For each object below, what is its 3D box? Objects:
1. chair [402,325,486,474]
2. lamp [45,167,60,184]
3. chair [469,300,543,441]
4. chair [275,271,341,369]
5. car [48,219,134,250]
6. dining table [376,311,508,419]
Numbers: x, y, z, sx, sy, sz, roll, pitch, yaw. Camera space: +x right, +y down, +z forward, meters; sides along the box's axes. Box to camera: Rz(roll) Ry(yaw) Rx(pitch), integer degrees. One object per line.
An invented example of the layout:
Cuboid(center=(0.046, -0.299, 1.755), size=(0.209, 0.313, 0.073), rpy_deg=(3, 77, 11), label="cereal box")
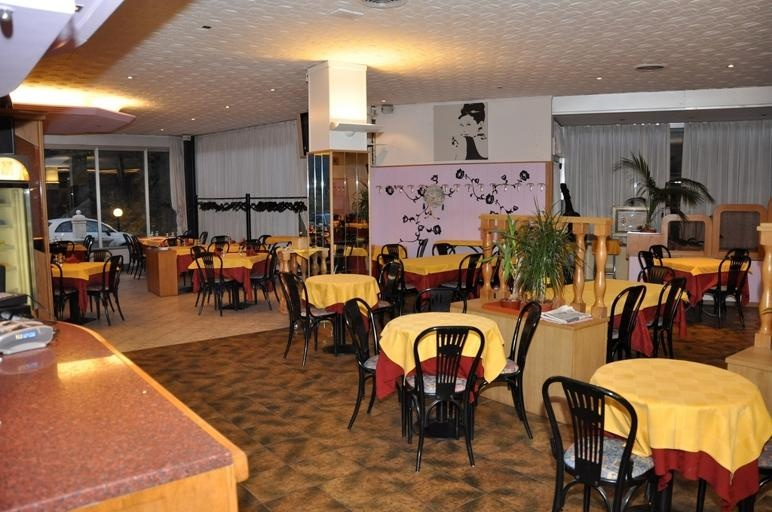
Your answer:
Cuboid(center=(0.443, 0.992, 4.309), size=(0.627, 1.053, 0.786), rpy_deg=(0, 10, 1), label="chair")
Cuboid(center=(-8.520, -2.028, 13.951), size=(0.268, 0.435, 0.154), rpy_deg=(-5, 11, -25), label="lamp")
Cuboid(center=(0.945, 0.916, 4.579), size=(0.675, 1.059, 0.570), rpy_deg=(-2, 7, 1), label="chair")
Cuboid(center=(-0.907, 0.640, 6.525), size=(0.657, 1.074, 1.281), rpy_deg=(-2, 10, -9), label="chair")
Cuboid(center=(-7.942, -0.584, 14.534), size=(1.712, 0.868, 1.016), rpy_deg=(-7, 11, -34), label="car")
Cuboid(center=(0.429, 0.782, 4.365), size=(0.820, 0.409, 0.809), rpy_deg=(-1, 3, -22), label="dining table")
